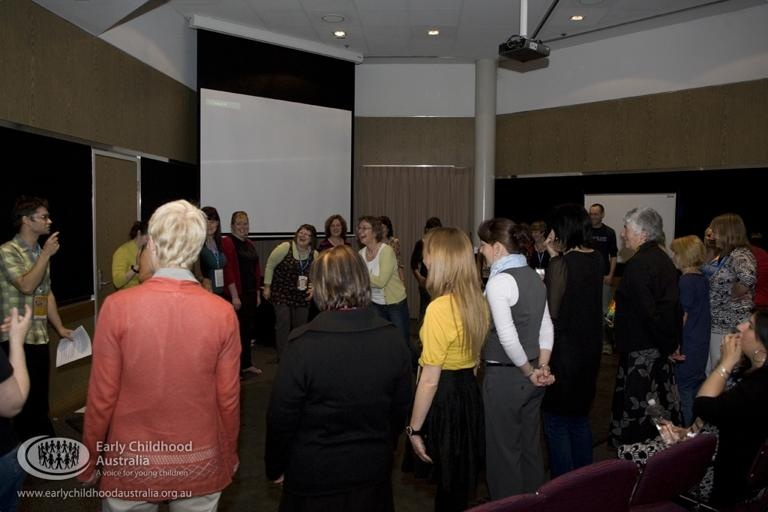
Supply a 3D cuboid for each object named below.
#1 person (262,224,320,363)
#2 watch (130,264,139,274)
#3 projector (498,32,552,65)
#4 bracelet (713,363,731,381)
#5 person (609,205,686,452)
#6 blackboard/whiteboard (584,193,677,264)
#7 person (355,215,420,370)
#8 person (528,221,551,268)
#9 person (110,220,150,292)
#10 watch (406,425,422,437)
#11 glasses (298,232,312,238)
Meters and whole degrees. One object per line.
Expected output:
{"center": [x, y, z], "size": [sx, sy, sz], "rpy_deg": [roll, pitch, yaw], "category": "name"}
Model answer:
{"center": [-1.111, 0.429, 6.603], "size": [0.639, 1.742, 0.611], "rpy_deg": [2, 15, -21], "category": "person"}
{"center": [-2.503, 0.131, 5.426], "size": [0.070, 0.045, 0.097], "rpy_deg": [9, 2, -8], "category": "watch"}
{"center": [1.606, -2.396, 6.220], "size": [0.483, 0.261, 0.404], "rpy_deg": [-4, 6, -38], "category": "projector"}
{"center": [2.182, 0.735, 3.466], "size": [0.084, 0.088, 0.086], "rpy_deg": [25, -4, -24], "category": "bracelet"}
{"center": [2.244, 0.674, 4.609], "size": [0.561, 2.146, 0.392], "rpy_deg": [1, 4, 26], "category": "person"}
{"center": [2.947, -0.344, 6.408], "size": [0.912, 0.987, 0.062], "rpy_deg": [-1, -1, 35], "category": "blackboard/whiteboard"}
{"center": [0.012, 0.483, 6.034], "size": [0.598, 1.931, 0.579], "rpy_deg": [-7, 1, 8], "category": "person"}
{"center": [1.991, 0.012, 6.778], "size": [0.238, 0.861, 0.219], "rpy_deg": [11, 41, 32], "category": "person"}
{"center": [-2.519, 0.017, 5.332], "size": [0.244, 0.830, 0.354], "rpy_deg": [0, 39, -20], "category": "person"}
{"center": [0.198, 1.169, 3.667], "size": [0.070, 0.040, 0.074], "rpy_deg": [-5, -12, 35], "category": "watch"}
{"center": [-0.948, -0.254, 6.475], "size": [0.096, 0.085, 0.121], "rpy_deg": [1, -7, 4], "category": "glasses"}
